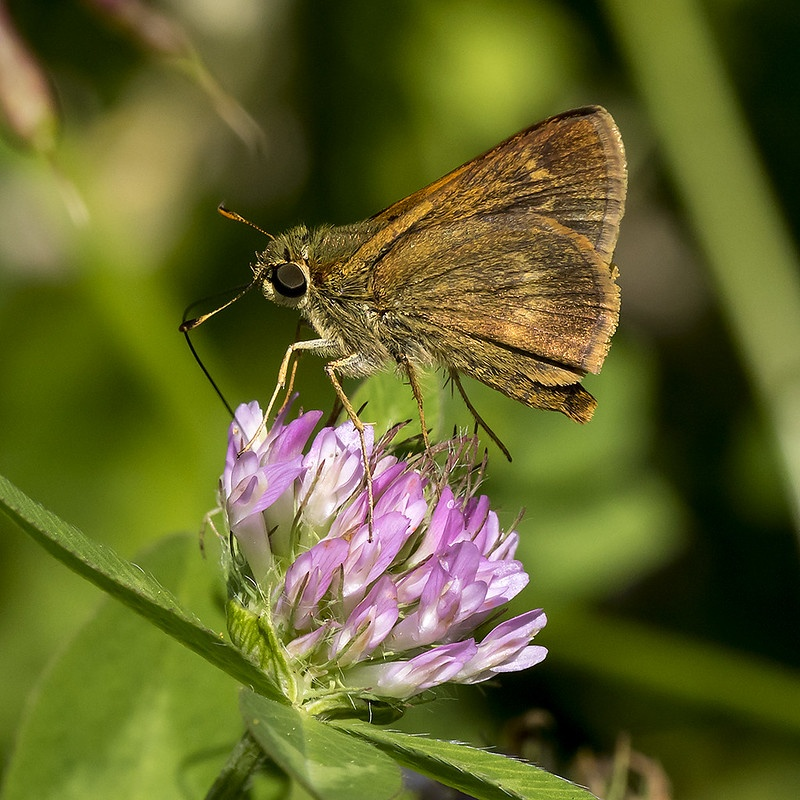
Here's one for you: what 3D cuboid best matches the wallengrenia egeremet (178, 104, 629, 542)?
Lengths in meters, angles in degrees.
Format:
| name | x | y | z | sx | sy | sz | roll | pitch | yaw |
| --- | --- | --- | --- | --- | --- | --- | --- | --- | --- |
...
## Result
| name | x | y | z | sx | sy | sz | roll | pitch | yaw |
| --- | --- | --- | --- | --- | --- | --- | --- | --- | --- |
| wallengrenia egeremet | 0.048 | -0.446 | 3.424 | 1.667 | 0.815 | 1.302 | 12 | 103 | 25 |
